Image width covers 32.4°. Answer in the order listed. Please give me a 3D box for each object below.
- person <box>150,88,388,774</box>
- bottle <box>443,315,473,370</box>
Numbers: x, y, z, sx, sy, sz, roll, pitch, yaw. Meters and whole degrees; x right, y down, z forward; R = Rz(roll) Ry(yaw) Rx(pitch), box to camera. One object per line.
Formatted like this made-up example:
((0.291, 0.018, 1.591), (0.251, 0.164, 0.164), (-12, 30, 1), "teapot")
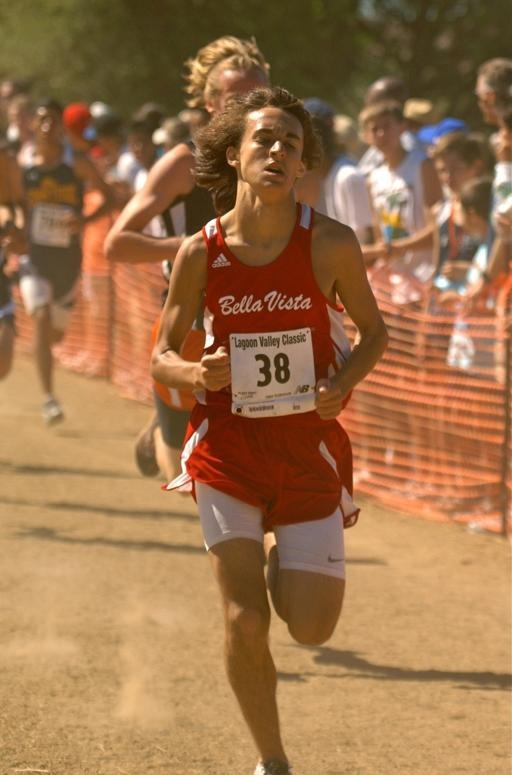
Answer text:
((0.046, 0.091, 2.083), (0.524, 1.622, 0.608), (-2, 9, -22), "person")
((1.057, -0.220, 4.601), (0.168, 0.240, 0.083), (5, 9, 34), "bottle")
